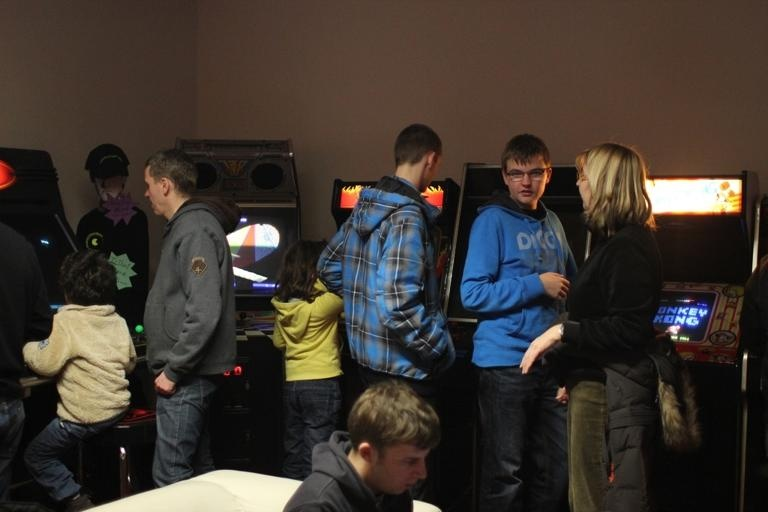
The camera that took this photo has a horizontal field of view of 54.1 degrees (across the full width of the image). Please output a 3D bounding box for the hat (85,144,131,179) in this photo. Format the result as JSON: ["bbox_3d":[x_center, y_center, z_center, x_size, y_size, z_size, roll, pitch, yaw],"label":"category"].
[{"bbox_3d":[-2.027,-0.682,5.527,0.243,0.240,0.301,-6,16,-10],"label":"hat"}]

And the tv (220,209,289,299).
[{"bbox_3d":[-0.891,0.005,5.116,0.630,0.597,0.344,0,-6,1],"label":"tv"}]

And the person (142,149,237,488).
[{"bbox_3d":[-1.050,0.316,4.085,0.478,1.785,0.447,0,5,-17],"label":"person"}]

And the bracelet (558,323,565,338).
[{"bbox_3d":[0.826,0.357,3.544,0.020,0.052,0.040,7,0,-1],"label":"bracelet"}]

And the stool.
[{"bbox_3d":[-1.408,1.103,4.141,0.279,0.272,0.421,7,43,-16],"label":"stool"}]

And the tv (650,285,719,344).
[{"bbox_3d":[1.752,0.352,4.372,0.306,0.294,0.160,6,-29,20],"label":"tv"}]
